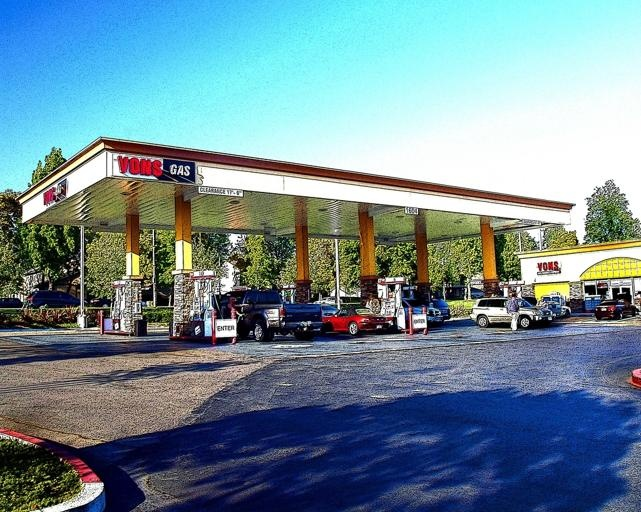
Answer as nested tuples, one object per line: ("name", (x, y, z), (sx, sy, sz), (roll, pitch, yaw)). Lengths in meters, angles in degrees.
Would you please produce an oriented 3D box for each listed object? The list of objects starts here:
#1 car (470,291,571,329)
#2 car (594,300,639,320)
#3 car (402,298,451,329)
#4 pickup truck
("car", (10.777, 3.203, 31.957), (3.960, 1.723, 1.964), (-7, -6, 43))
("car", (20.072, 3.647, 37.717), (2.962, 1.039, 1.315), (0, -2, -45))
("car", (6.260, 3.502, 33.742), (1.634, 1.668, 3.578), (1, -5, -38))
("pickup truck", (-2.364, 2.632, 25.459), (4.292, 2.494, 2.325), (-2, -3, 22))
